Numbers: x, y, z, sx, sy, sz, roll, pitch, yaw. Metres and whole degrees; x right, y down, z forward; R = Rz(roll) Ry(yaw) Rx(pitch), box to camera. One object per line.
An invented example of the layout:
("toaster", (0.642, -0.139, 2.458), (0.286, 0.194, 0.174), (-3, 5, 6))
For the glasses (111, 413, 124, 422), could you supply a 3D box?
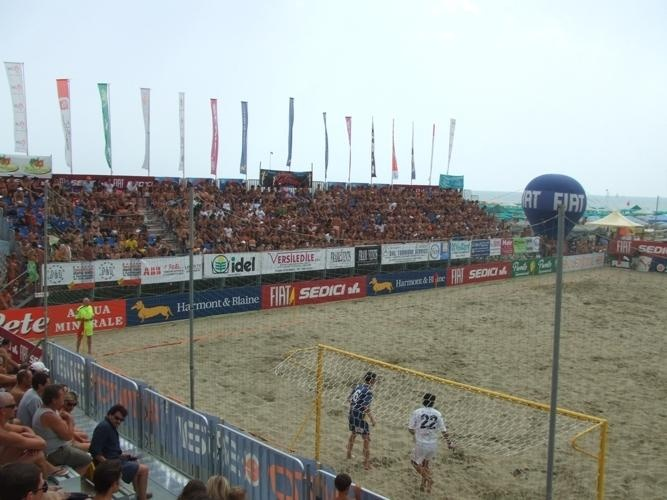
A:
("glasses", (-3.696, 2.860, 12.233), (0.151, 0.139, 0.176), (5, 13, -36))
